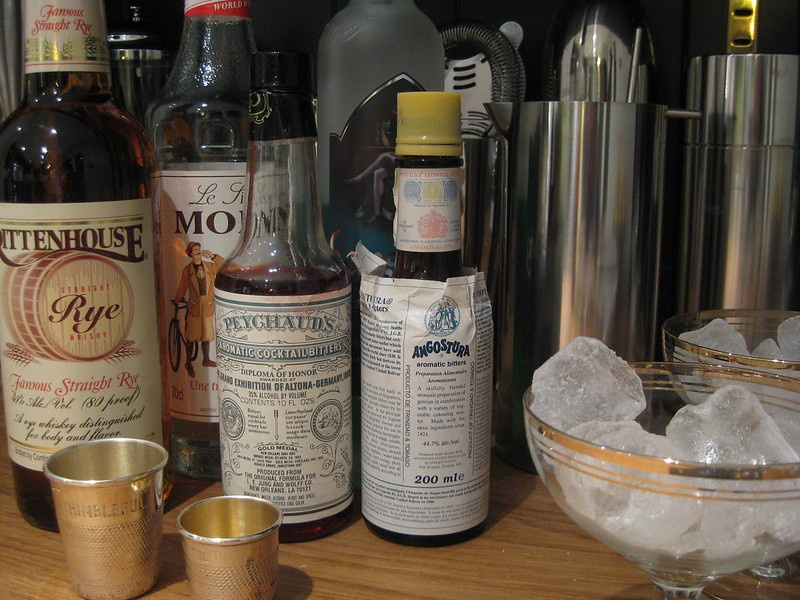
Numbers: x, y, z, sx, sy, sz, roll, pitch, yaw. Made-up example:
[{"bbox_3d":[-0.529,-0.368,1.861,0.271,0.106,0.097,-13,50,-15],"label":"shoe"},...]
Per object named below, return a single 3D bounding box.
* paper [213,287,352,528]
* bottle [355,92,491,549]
[{"bbox_3d":[-0.096,0.014,0.679,0.093,0.343,0.101,-2,9,-12],"label":"paper"},{"bbox_3d":[0.017,0.014,0.669,0.115,0.353,0.115,-2,13,1],"label":"bottle"}]
